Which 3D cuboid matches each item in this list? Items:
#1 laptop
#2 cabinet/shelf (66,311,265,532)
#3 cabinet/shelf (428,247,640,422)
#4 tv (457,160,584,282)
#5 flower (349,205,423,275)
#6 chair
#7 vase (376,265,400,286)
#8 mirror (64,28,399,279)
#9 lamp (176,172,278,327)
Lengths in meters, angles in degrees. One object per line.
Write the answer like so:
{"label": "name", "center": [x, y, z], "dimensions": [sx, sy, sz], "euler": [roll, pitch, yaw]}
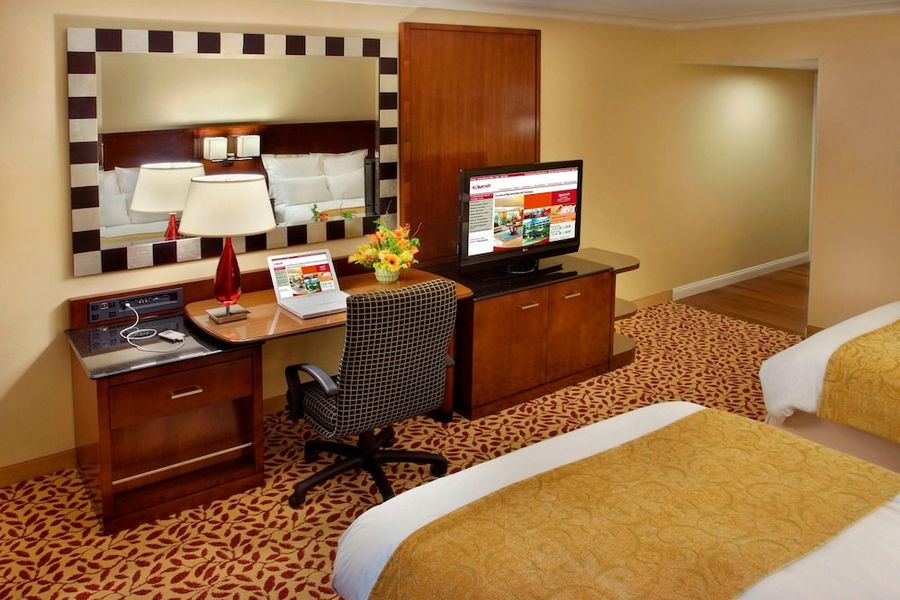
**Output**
{"label": "laptop", "center": [-0.848, -0.107, 3.886], "dimensions": [0.579, 0.260, 0.560], "euler": [3, 22, -1]}
{"label": "cabinet/shelf", "center": [-1.737, 0.687, 3.671], "dimensions": [0.825, 0.899, 0.968], "euler": [15, 17, 41]}
{"label": "cabinet/shelf", "center": [0.715, 0.212, 5.017], "dimensions": [2.051, 0.921, 0.707], "euler": [-12, 19, -37]}
{"label": "tv", "center": [0.510, -0.611, 4.687], "dimensions": [1.332, 0.851, 0.303], "euler": [-14, 23, -40]}
{"label": "flower", "center": [-0.483, -0.340, 4.278], "dimensions": [0.517, 0.308, 0.502], "euler": [3, 5, -17]}
{"label": "chair", "center": [-0.468, 0.557, 3.549], "dimensions": [1.017, 1.228, 0.962], "euler": [-14, 29, -36]}
{"label": "vase", "center": [-0.430, -0.170, 4.139], "dimensions": [0.132, 0.085, 0.126], "euler": [2, 13, 2]}
{"label": "mirror", "center": [-1.444, -0.945, 3.849], "dimensions": [1.917, 1.095, 0.035], "euler": [-6, 14, -30]}
{"label": "lamp", "center": [-1.302, -0.343, 3.726], "dimensions": [0.514, 0.814, 0.506], "euler": [-5, 20, -4]}
